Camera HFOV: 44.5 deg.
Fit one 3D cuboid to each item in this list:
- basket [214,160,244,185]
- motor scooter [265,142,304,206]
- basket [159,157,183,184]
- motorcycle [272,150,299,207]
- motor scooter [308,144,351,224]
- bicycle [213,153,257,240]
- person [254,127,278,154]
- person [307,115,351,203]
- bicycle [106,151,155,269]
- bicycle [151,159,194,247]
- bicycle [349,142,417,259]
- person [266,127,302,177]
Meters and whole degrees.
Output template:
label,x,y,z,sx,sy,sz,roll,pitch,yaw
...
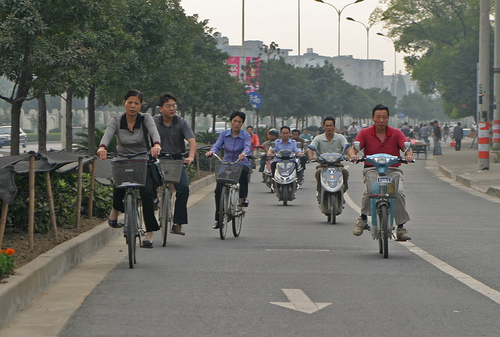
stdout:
label,x,y,z,sx,sy,sz,roll,pitch,yaw
basket,-0.363,0.078,10.812,0.496,0.435,0.558,0,3,1
motor scooter,1.047,0.164,17.195,0.900,1.548,2.283,0,3,2
basket,-1.245,-0.017,9.642,0.410,0.454,0.516,1,9,14
motorcycle,0.989,0.240,16.683,0.653,1.457,1.258,0,4,3
motor scooter,1.797,0.303,13.806,0.818,1.562,2.384,-2,2,4
bicycle,-0.351,0.506,10.819,0.533,1.492,0.825,0,4,4
person,0.585,-0.936,20.929,0.781,0.681,1.110,0,6,1
person,1.742,0.095,13.128,1.061,1.240,1.905,-2,-18,7
bicycle,-1.713,0.548,8.789,0.607,1.582,1.289,-1,4,-9
bicycle,-1.481,0.589,10.470,0.988,1.474,2.435,1,0,-7
bicycle,1.984,0.470,9.233,0.931,1.706,0.904,1,4,9
person,0.988,-0.575,17.692,0.850,0.956,1.480,-1,-6,0
